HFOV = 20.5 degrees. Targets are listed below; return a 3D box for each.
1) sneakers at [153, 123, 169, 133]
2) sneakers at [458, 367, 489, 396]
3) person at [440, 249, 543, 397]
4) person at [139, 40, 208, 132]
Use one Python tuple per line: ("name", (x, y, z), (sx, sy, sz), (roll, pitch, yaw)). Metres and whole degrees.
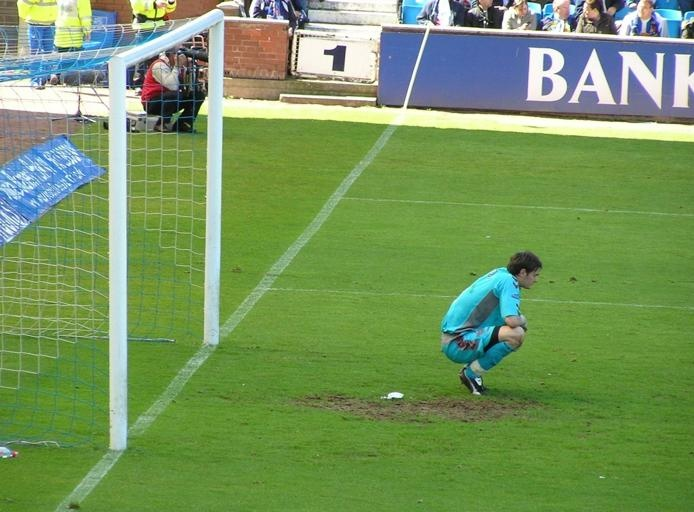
("sneakers", (-2.513, -1.721, 25.623), (0.131, 0.123, 0.346), (-1, -8, -21))
("sneakers", (1.297, 1.299, 19.716), (0.196, 0.400, 0.147), (-43, -1, -6))
("person", (1.516, 0.695, 19.888), (1.091, 1.373, 0.960), (1, 6, 11))
("person", (-2.319, -2.213, 25.018), (0.943, 1.060, 0.641), (-4, 0, 23))
